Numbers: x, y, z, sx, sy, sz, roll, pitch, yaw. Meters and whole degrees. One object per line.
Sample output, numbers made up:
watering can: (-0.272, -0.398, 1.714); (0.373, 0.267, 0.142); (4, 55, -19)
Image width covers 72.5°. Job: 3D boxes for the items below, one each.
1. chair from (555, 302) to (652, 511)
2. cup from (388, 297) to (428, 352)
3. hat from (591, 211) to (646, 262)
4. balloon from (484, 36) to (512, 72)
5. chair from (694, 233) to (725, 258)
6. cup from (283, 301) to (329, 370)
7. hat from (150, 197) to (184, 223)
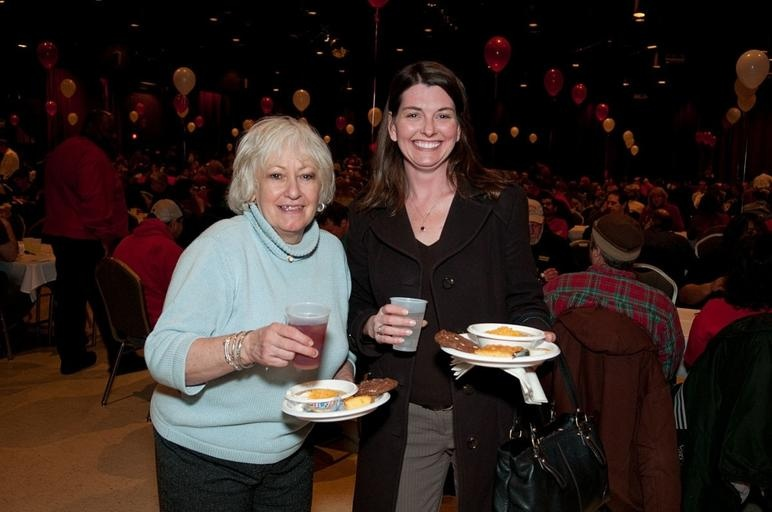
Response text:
chair: (1.180, 0.769, 2.971); (0.726, 0.956, 0.380); (6, -3, 18)
cup: (0.071, 0.280, 2.289); (0.201, 0.239, 0.209); (7, 1, 0)
hat: (1.494, -0.118, 3.357); (0.336, 0.283, 0.242); (-4, 14, -22)
balloon: (1.887, -3.434, 9.063); (0.492, 0.764, 0.501); (6, 2, 6)
chair: (3.338, -0.102, 5.509); (0.188, 0.280, 0.391); (8, 14, 28)
cup: (-0.271, 0.293, 1.944); (0.220, 0.236, 0.224); (1, -14, 0)
hat: (-2.338, -0.512, 5.723); (0.219, 0.171, 0.303); (26, 13, 16)
